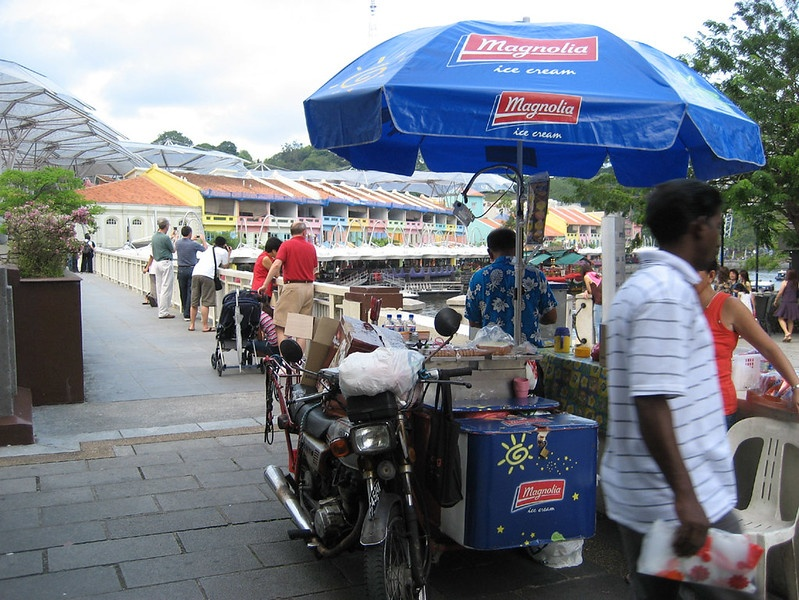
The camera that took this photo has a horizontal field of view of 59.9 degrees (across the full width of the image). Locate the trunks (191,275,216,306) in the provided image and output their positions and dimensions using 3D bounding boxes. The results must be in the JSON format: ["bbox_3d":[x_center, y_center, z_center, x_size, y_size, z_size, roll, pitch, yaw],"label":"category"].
[{"bbox_3d":[-3.844,-0.195,13.435,0.474,0.621,0.290,7,14,7],"label":"trunks"}]

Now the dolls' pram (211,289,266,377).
[{"bbox_3d":[-2.389,0.461,10.093,0.709,1.235,1.050,0,4,-15],"label":"dolls' pram"}]

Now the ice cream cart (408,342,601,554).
[{"bbox_3d":[0.623,0.741,4.738,1.352,1.348,1.170,-1,5,-21],"label":"ice cream cart"}]

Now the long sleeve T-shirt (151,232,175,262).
[{"bbox_3d":[-5.479,-1.235,15.920,0.449,0.703,0.567,0,4,-19],"label":"long sleeve T-shirt"}]

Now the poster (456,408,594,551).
[{"bbox_3d":[0.688,1.051,4.336,0.812,0.643,0.817,1,-5,-27],"label":"poster"}]

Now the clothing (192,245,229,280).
[{"bbox_3d":[-3.637,-0.727,13.324,0.534,0.626,0.513,2,4,22],"label":"clothing"}]
